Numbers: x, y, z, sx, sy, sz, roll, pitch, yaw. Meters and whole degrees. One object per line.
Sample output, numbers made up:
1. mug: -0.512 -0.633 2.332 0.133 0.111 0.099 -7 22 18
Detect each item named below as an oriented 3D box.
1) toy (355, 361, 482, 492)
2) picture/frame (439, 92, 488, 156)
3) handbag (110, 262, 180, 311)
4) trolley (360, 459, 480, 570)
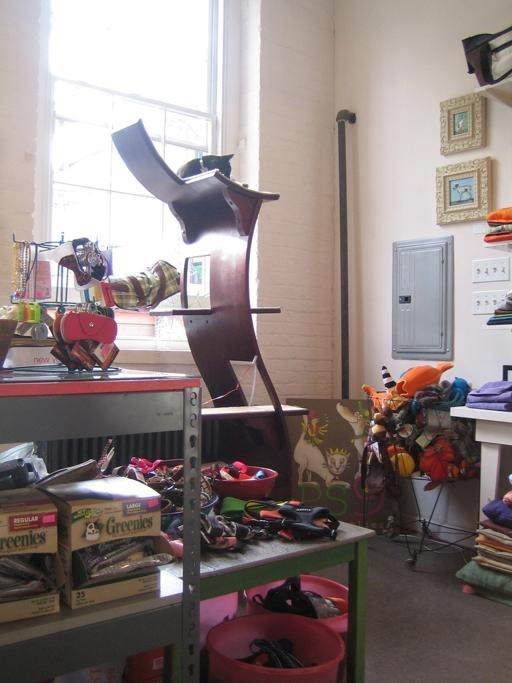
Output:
1. toy: 0.827 0.361 2.546 0.578 0.569 0.463 -2 -1 26
2. picture/frame: 1.031 -1.084 2.791 0.038 0.290 0.240 3 -3 -39
3. handbag: -0.383 -0.179 1.864 0.214 0.146 0.087 -25 3 -42
4. trolley: 0.790 0.891 2.855 0.450 0.456 0.607 0 -2 -18
